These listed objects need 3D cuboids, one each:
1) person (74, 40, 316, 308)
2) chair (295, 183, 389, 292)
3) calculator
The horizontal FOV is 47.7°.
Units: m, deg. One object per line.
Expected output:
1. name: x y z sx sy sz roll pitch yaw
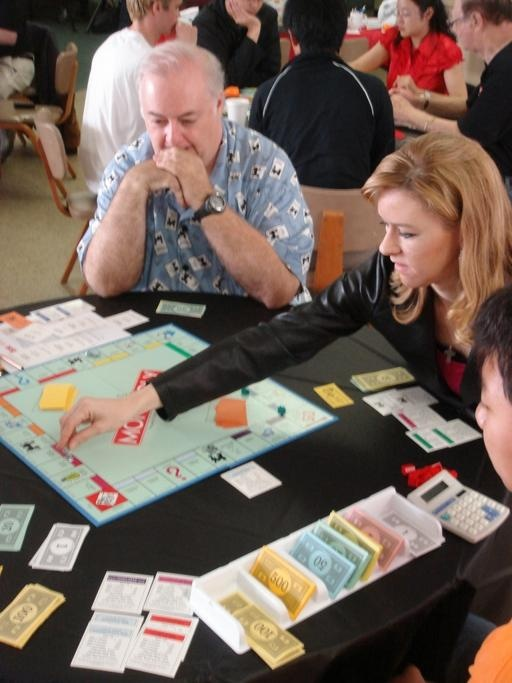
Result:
1. person: -0.191 -0.367 1.925 0.775 1.098 0.563 11 37 11
2. chair: 0.343 -0.349 2.175 0.304 0.409 0.286 -5 28 -12
3. calculator: 0.335 0.274 0.950 0.085 0.029 0.114 -30 37 -29
